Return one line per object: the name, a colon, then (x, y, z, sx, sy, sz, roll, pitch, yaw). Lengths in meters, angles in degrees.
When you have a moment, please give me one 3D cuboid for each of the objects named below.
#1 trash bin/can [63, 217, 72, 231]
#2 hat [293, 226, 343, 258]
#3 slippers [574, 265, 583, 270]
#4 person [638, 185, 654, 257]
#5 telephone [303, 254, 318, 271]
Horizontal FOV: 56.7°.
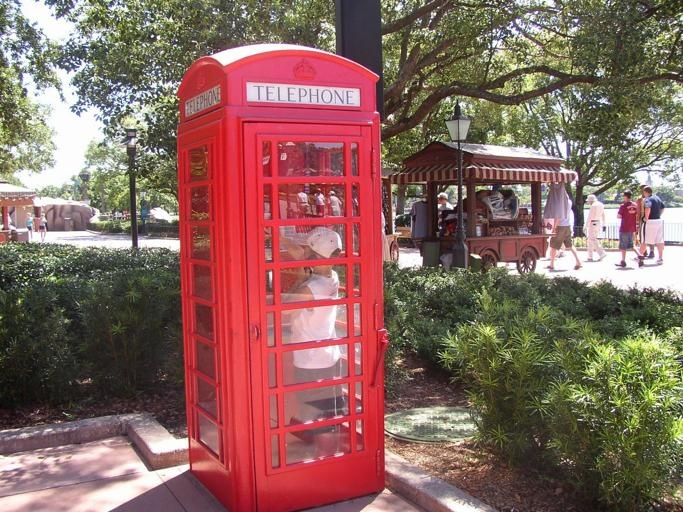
trash bin/can: (-27.870, -3.371, 64.536, 0.760, 1.170, 0.806, 0, 1, -24)
hat: (-0.174, -0.116, 5.105, 0.379, 0.242, 0.084, 0, 1, -5)
slippers: (6.516, 0.279, 17.439, 0.193, 0.107, 0.893, 1, 1, 21)
person: (8.481, -0.966, 17.691, 0.642, 1.951, 0.683, 2, 11, 33)
telephone: (-0.247, 0.049, 5.106, 0.110, 0.152, 0.035, -1, 1, -30)
